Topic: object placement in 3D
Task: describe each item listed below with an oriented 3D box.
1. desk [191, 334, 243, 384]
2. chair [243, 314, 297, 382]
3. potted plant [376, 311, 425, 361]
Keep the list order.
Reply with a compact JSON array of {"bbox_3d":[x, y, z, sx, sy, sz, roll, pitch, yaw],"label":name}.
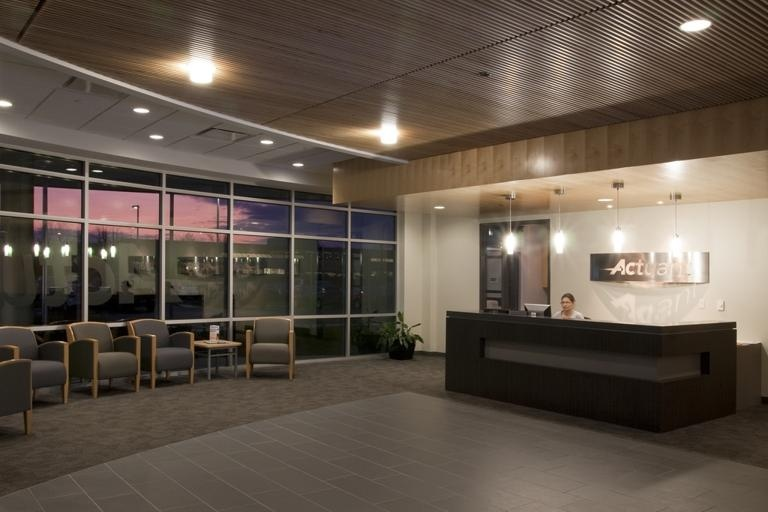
[{"bbox_3d":[-3.367,2.070,10.178,0.944,0.649,0.909,1,-4,-36],"label":"desk"},{"bbox_3d":[-2.324,1.836,10.215,0.952,1.160,0.944,-1,-4,-13],"label":"chair"},{"bbox_3d":[0.444,1.981,12.719,0.900,1.142,0.889,-4,-5,28],"label":"potted plant"}]
